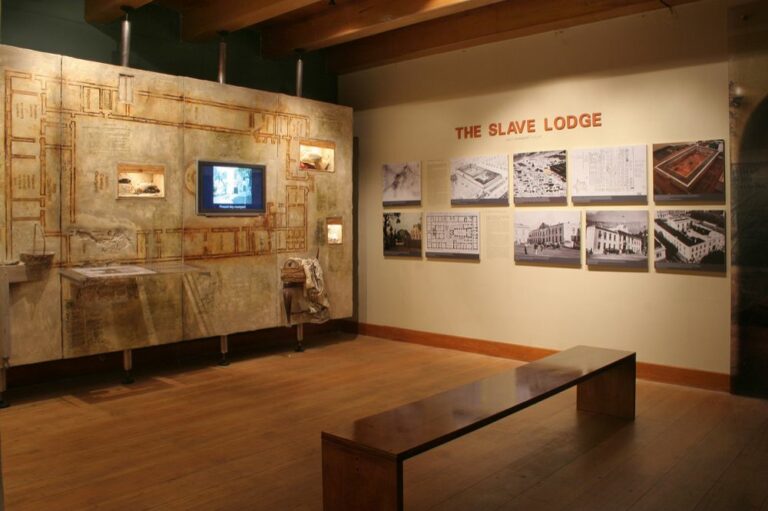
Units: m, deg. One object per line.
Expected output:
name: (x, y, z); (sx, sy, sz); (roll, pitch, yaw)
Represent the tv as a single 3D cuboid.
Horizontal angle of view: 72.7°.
tv: (-2.085, -0.910, 6.972); (0.841, 0.588, 0.085); (-1, 1, -40)
